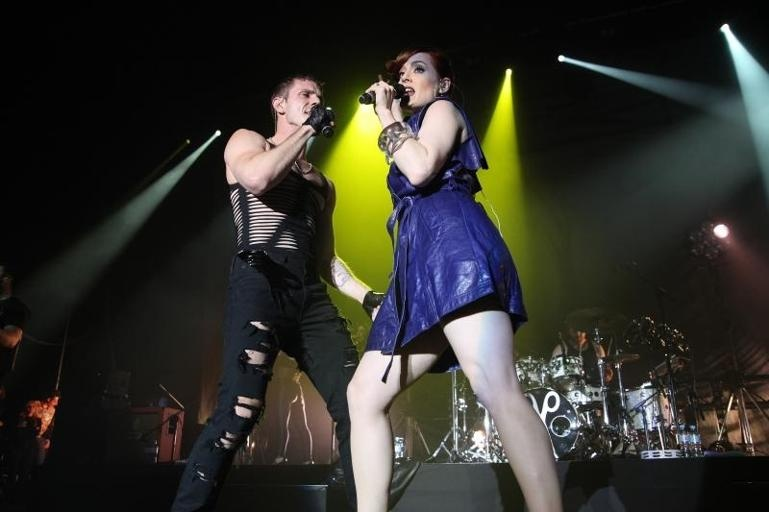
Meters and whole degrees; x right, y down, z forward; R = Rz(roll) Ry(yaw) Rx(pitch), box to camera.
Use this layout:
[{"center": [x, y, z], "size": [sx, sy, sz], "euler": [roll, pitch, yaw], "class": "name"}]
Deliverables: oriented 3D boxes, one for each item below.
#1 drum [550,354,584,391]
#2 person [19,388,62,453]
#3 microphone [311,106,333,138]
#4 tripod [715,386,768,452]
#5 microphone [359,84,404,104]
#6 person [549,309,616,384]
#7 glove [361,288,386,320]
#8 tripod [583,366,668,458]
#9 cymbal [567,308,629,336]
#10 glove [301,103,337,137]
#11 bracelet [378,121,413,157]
[{"center": [2.553, 1.654, 8.162], "size": [0.443, 0.436, 0.457], "euler": [15, -33, -22], "class": "drum"}, {"center": [-4.579, 2.165, 7.661], "size": [0.338, 0.784, 0.438], "euler": [-22, -31, 38], "class": "person"}, {"center": [-0.537, -1.128, 5.026], "size": [0.184, 0.269, 0.104], "euler": [2, -24, 0], "class": "microphone"}, {"center": [6.243, 2.864, 10.079], "size": [0.786, 1.106, 1.516], "euler": [-17, -29, 30], "class": "tripod"}, {"center": [-0.006, -1.333, 4.736], "size": [0.146, 0.167, 0.498], "euler": [-1, 6, 42], "class": "microphone"}, {"center": [3.070, 1.411, 8.856], "size": [0.610, 0.821, 0.705], "euler": [32, -30, -25], "class": "person"}, {"center": [-0.106, 0.425, 5.135], "size": [0.193, 0.232, 0.103], "euler": [30, -5, 18], "class": "glove"}, {"center": [3.280, 2.173, 8.094], "size": [1.264, 1.262, 1.224], "euler": [6, -22, -7], "class": "tripod"}, {"center": [3.261, 0.994, 8.909], "size": [0.550, 0.173, 0.584], "euler": [10, -35, -10], "class": "cymbal"}, {"center": [-0.529, -1.152, 5.076], "size": [0.261, 0.282, 0.109], "euler": [3, -14, 6], "class": "glove"}, {"center": [0.077, -0.865, 4.494], "size": [0.252, 0.192, 0.259], "euler": [5, -20, -22], "class": "bracelet"}]
